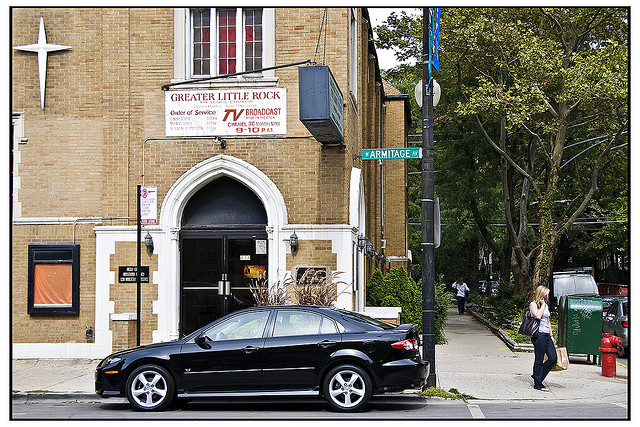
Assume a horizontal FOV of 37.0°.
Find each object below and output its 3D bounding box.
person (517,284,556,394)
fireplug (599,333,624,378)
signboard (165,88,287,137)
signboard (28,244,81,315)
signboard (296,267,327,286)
[{"bbox_3d":[6.090,3.471,26.517,1.117,2.835,0.793,4,-5,-25],"label":"person"},{"bbox_3d":[8.769,4.272,28.700,0.762,1.226,0.517,-4,-4,17],"label":"fireplug"},{"bbox_3d":[-2.863,-3.201,30.163,3.648,1.558,0.513,1,7,-2],"label":"signboard"},{"bbox_3d":[-8.422,2.139,30.306,2.137,2.973,0.293,-1,-3,-4],"label":"signboard"},{"bbox_3d":[-0.249,1.984,29.525,0.953,0.578,0.474,1,7,-1],"label":"signboard"}]
